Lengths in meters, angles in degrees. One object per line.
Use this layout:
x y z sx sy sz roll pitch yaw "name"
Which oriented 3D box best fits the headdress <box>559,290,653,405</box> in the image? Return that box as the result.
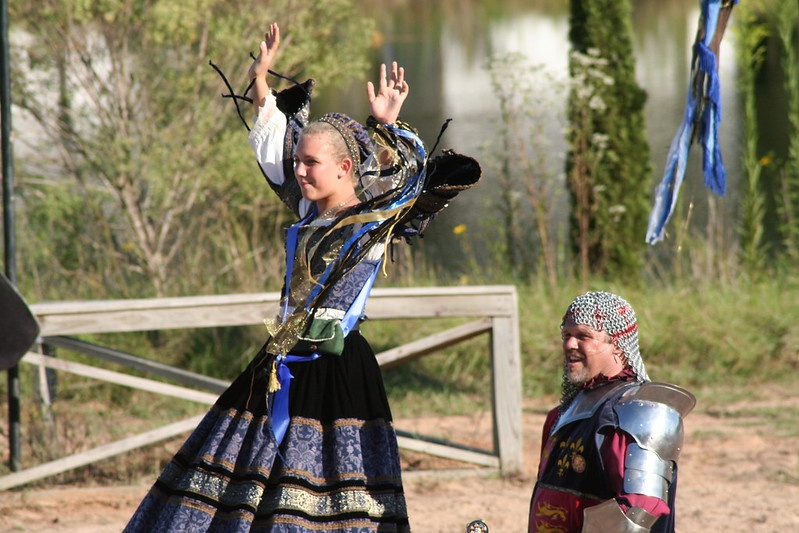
1.653 0.633 17.632 0.637 0.838 0.703 -16 0 -27 "headdress"
